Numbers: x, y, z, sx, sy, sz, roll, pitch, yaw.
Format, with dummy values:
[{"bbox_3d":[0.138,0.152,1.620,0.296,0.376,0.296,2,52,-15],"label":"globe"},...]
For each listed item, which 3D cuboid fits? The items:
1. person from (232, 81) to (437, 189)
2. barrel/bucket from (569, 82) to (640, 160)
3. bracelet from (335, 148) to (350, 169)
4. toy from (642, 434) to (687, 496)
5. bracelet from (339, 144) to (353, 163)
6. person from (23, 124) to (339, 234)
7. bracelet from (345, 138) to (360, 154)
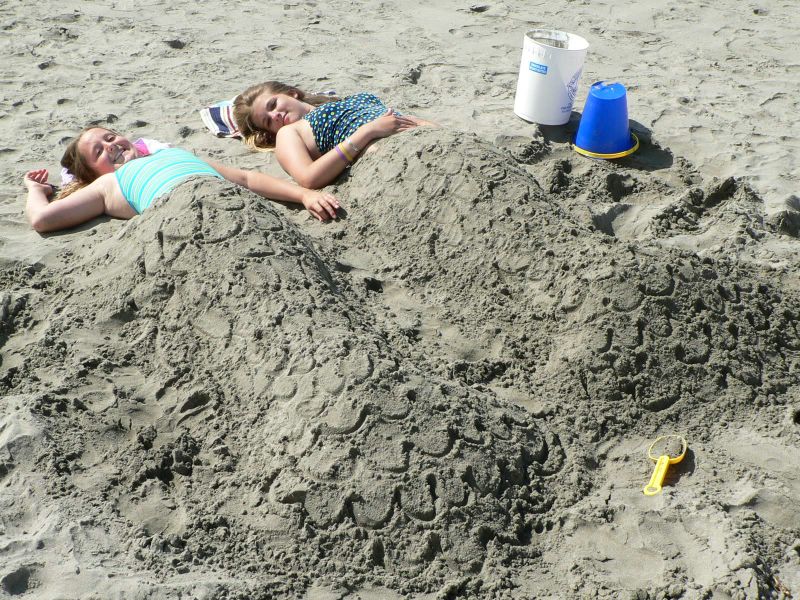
[{"bbox_3d":[-0.455,-1.220,7.151,1.417,0.458,0.944,6,44,30],"label":"person"},{"bbox_3d":[1.446,-1.234,7.257,0.582,0.377,0.510,17,37,25],"label":"barrel/bucket"},{"bbox_3d":[-0.385,-0.925,6.781,0.046,0.102,0.109,-35,83,2],"label":"bracelet"},{"bbox_3d":[1.321,0.814,5.140,0.175,0.047,0.356,6,39,31],"label":"toy"},{"bbox_3d":[-0.365,-0.951,6.793,0.046,0.106,0.099,-32,9,1],"label":"bracelet"},{"bbox_3d":[-1.431,-0.653,6.605,1.966,0.435,1.227,14,24,22],"label":"person"},{"bbox_3d":[-0.333,-1.001,6.767,0.076,0.088,0.095,-14,23,-21],"label":"bracelet"}]
